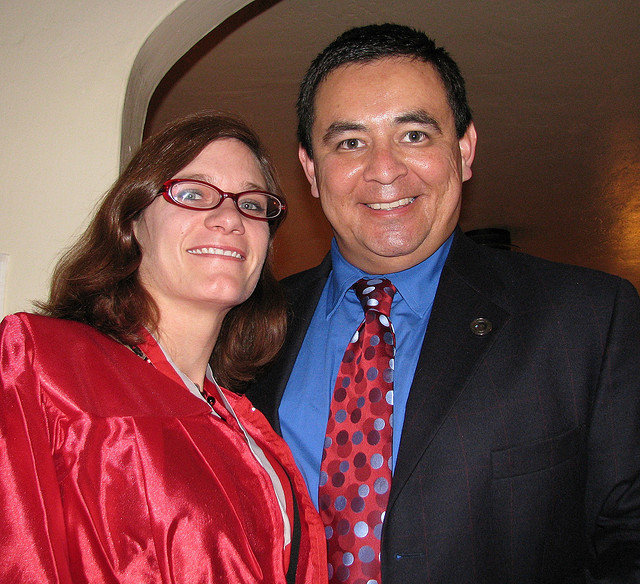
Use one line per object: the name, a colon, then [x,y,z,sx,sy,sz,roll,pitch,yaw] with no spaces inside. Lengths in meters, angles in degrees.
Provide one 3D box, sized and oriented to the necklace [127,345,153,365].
necklace: [-0.491,0.172,1.865,0.086,0.011,0.013,28,-20,1]
